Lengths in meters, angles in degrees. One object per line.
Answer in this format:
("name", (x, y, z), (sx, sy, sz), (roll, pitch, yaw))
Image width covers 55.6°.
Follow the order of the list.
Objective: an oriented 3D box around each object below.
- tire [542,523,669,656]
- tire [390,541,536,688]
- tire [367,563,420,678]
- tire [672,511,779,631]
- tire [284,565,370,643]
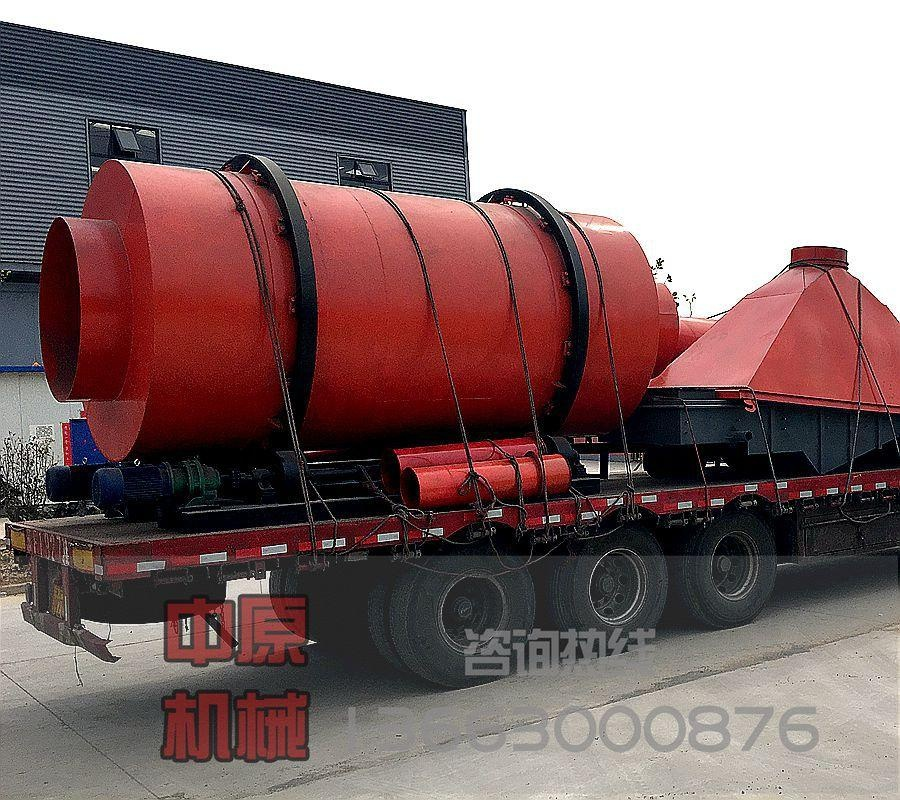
("tire", (1.259, 1.618, 7.704), (0.966, 1.156, 0.996), (-4, 0, -34))
("tire", (0.031, 1.649, 6.743), (1.136, 1.217, 0.368), (-37, -30, 24))
("tire", (-0.480, 1.643, 6.467), (0.305, 0.796, 0.261), (-1, 0, -7))
("tire", (2.602, 1.652, 8.227), (0.960, 1.139, 0.348), (-4, 1, -33))
("tire", (-0.993, 1.656, 6.853), (0.377, 0.630, 1.124), (-1, -1, -35))
